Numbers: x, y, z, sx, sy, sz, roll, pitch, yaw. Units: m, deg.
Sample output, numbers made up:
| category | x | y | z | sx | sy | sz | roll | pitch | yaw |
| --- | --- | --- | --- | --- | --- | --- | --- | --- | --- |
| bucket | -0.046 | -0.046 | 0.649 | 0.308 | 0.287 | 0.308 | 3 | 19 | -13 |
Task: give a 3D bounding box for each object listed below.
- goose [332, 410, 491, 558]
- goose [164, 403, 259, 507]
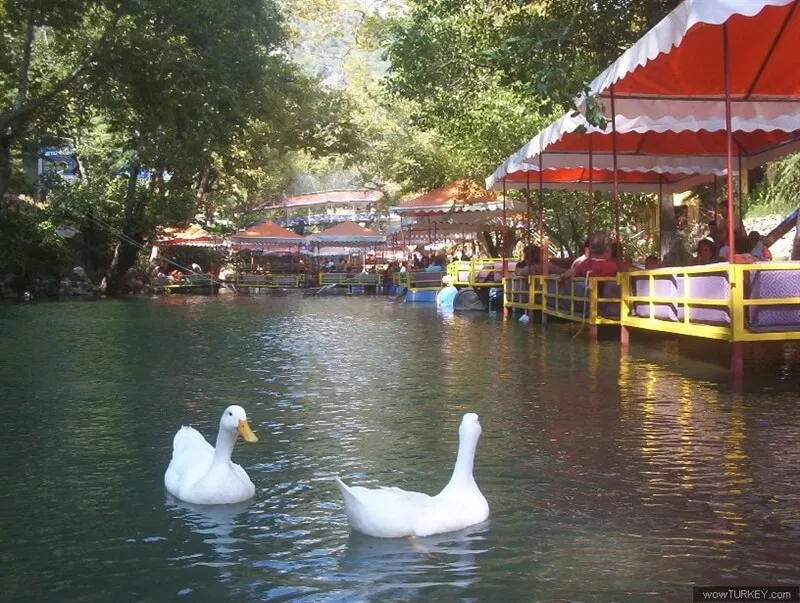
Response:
| category | x | y | z | sx | sy | sz | roll | pitch | yaw |
| --- | --- | --- | --- | --- | --- | --- | --- | --- | --- |
| goose | 0.063 | 1.136 | 5.201 | 1.296 | 0.868 | 0.463 | 9 | -15 | -36 |
| goose | -1.263 | 1.048 | 5.747 | 0.474 | 0.673 | 1.134 | 3 | -2 | -35 |
